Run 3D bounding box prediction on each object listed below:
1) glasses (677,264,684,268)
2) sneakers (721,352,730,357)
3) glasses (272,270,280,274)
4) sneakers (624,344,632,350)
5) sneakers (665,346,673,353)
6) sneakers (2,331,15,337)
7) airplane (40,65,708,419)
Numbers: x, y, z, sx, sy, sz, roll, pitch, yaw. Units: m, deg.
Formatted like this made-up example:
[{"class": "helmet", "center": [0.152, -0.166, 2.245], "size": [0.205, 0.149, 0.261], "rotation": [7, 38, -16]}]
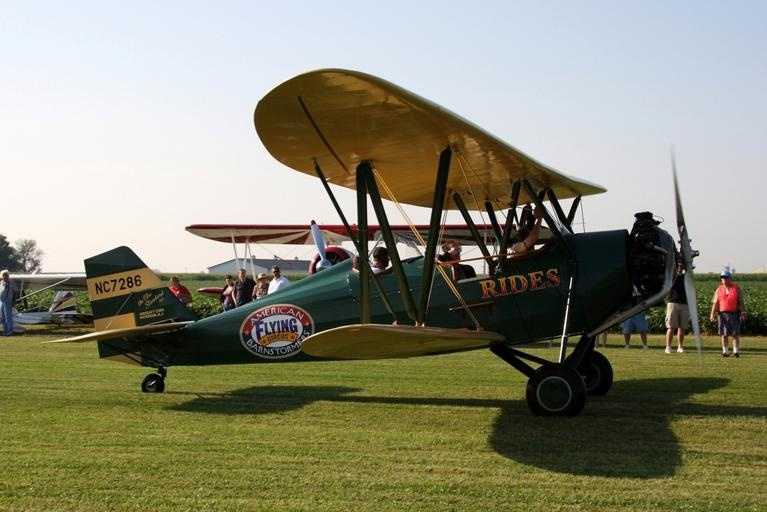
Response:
[{"class": "glasses", "center": [3.473, 0.115, 8.837], "size": [0.026, 0.044, 0.074], "rotation": [14, 2, -8]}, {"class": "sneakers", "center": [5.585, 1.626, 12.314], "size": [0.076, 0.061, 0.199], "rotation": [-5, -11, 23]}, {"class": "glasses", "center": [-1.881, 0.274, 13.315], "size": [0.087, 0.068, 0.027], "rotation": [-13, -6, 40]}, {"class": "sneakers", "center": [4.475, 1.678, 13.824], "size": [0.091, 0.070, 0.208], "rotation": [-3, -8, 14]}, {"class": "sneakers", "center": [4.836, 1.607, 12.798], "size": [0.087, 0.062, 0.181], "rotation": [0, -6, -1]}, {"class": "sneakers", "center": [-8.651, 1.797, 17.357], "size": [0.309, 0.135, 0.070], "rotation": [0, -6, 12]}, {"class": "airplane", "center": [0.341, 0.063, 8.571], "size": [5.199, 1.433, 5.962], "rotation": [-3, -4, 23]}]
